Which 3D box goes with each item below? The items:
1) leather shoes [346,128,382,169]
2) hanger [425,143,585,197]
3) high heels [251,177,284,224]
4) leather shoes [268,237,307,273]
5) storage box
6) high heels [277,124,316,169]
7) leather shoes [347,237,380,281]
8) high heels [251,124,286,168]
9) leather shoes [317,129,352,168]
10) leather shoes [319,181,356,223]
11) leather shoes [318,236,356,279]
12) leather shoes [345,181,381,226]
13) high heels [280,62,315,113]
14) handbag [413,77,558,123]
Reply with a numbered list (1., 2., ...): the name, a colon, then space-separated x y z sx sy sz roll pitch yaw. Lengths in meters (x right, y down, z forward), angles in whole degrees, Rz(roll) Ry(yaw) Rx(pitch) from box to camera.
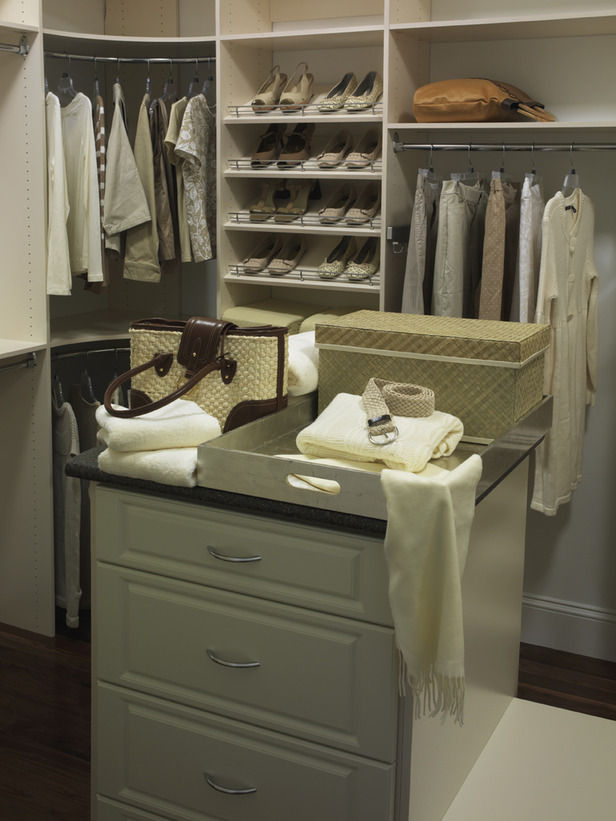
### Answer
1. leather shoes: 0.196 -0.873 2.403 0.076 0.094 0.253 5 42 19
2. hanger: 0.593 -0.775 2.258 0.559 0.173 0.374 5 10 21
3. high heels: -0.149 -0.753 2.573 0.067 0.060 0.278 3 31 4
4. leather shoes: -0.074 -0.556 2.609 0.072 0.090 0.238 14 37 8
5. storage box: 0.202 -0.070 1.217 0.355 0.175 0.254 7 11 30
6. high heels: -0.042 -0.921 2.521 0.075 0.072 0.251 7 56 12
7. leather shoes: 0.186 -0.515 2.447 0.113 0.157 0.244 2 9 3
8. high heels: -0.137 -0.933 2.541 0.073 0.106 0.263 8 43 9
9. leather shoes: 0.093 -0.875 2.426 0.070 0.094 0.229 11 48 18
10. leather shoes: 0.112 -0.715 2.488 0.073 0.089 0.241 12 48 23
11. leather shoes: 0.107 -0.527 2.497 0.075 0.100 0.245 2 39 26
12. leather shoes: 0.194 -0.695 2.436 0.077 0.099 0.246 2 36 17
13. high heels: -0.035 -1.092 2.454 0.075 0.098 0.257 6 47 8
14. handbag: 0.514 -0.907 2.113 0.400 0.133 0.100 3 9 8
